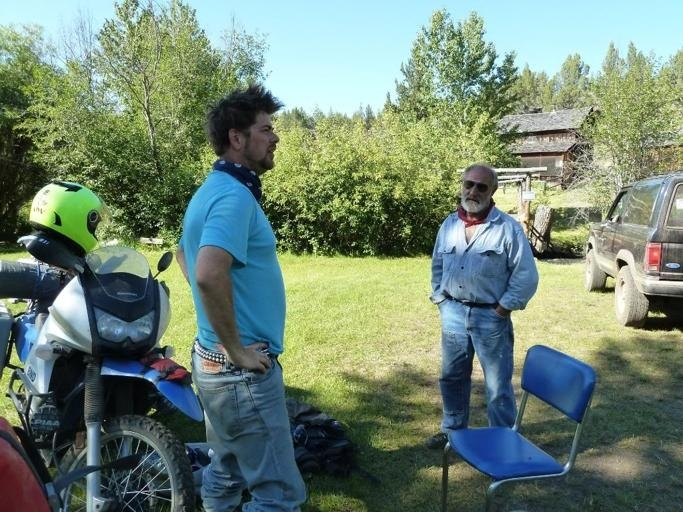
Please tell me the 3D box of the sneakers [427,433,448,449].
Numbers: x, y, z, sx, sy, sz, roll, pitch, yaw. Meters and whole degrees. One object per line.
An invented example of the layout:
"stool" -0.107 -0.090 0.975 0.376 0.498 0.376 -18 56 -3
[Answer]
"sneakers" 0.846 1.651 5.271 0.104 0.135 0.296 3 -12 -17

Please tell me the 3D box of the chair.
"chair" 1.378 1.407 4.744 0.994 1.893 0.896 -2 9 -19

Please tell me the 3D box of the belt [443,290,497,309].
"belt" 1.070 0.388 5.059 0.481 0.084 0.086 6 7 35

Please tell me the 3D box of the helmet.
"helmet" -1.944 -0.310 4.426 0.417 0.543 0.551 6 12 27
